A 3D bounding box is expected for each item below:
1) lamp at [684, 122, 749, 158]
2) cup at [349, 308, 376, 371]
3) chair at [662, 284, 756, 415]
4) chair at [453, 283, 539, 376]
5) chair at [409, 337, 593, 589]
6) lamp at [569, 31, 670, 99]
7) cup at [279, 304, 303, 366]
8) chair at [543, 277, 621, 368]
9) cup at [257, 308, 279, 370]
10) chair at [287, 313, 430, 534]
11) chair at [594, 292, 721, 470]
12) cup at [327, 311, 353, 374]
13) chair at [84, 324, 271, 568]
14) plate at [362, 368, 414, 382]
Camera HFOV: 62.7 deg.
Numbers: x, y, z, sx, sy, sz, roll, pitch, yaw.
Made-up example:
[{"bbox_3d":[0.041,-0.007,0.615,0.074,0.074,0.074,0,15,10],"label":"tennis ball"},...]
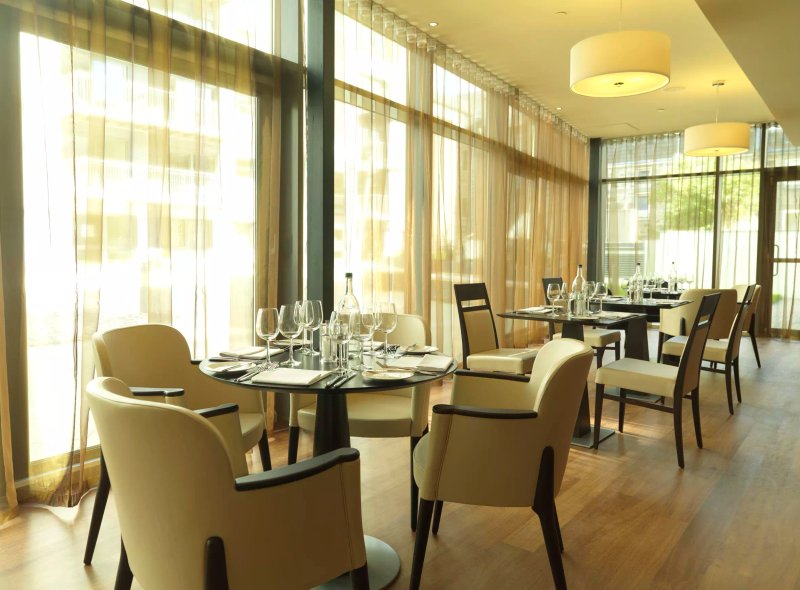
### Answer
[{"bbox_3d":[3.450,-1.695,7.175,0.621,0.356,0.682,7,16,27],"label":"lamp"},{"bbox_3d":[-0.207,0.234,3.545,0.141,0.360,0.157,-2,16,-11],"label":"cup"},{"bbox_3d":[2.759,0.413,5.919,0.679,1.192,0.758,-7,10,-39],"label":"chair"},{"bbox_3d":[0.811,0.416,5.413,0.662,1.107,0.625,-1,2,24],"label":"chair"},{"bbox_3d":[0.529,0.843,3.361,0.812,1.191,0.802,4,14,14],"label":"chair"},{"bbox_3d":[1.557,-1.644,4.840,0.531,0.256,0.596,0,-3,1],"label":"lamp"},{"bbox_3d":[-0.579,0.206,3.479,0.120,0.315,0.112,0,0,0],"label":"cup"},{"bbox_3d":[1.654,0.272,6.035,0.582,0.990,0.472,-3,3,44],"label":"chair"},{"bbox_3d":[-0.703,0.199,3.521,0.109,0.296,0.315,-3,14,-12],"label":"cup"},{"bbox_3d":[-0.179,0.725,4.089,0.786,1.284,0.790,3,0,20],"label":"chair"},{"bbox_3d":[1.867,0.544,4.777,0.729,1.271,0.671,5,9,32],"label":"chair"},{"bbox_3d":[-0.317,0.232,3.443,0.124,0.279,0.373,-1,14,-5],"label":"cup"},{"bbox_3d":[-1.222,0.794,4.210,1.016,1.784,1.112,-1,-1,22],"label":"chair"},{"bbox_3d":[-0.061,0.399,3.240,0.259,0.017,0.161,0,14,-2],"label":"plate"}]
